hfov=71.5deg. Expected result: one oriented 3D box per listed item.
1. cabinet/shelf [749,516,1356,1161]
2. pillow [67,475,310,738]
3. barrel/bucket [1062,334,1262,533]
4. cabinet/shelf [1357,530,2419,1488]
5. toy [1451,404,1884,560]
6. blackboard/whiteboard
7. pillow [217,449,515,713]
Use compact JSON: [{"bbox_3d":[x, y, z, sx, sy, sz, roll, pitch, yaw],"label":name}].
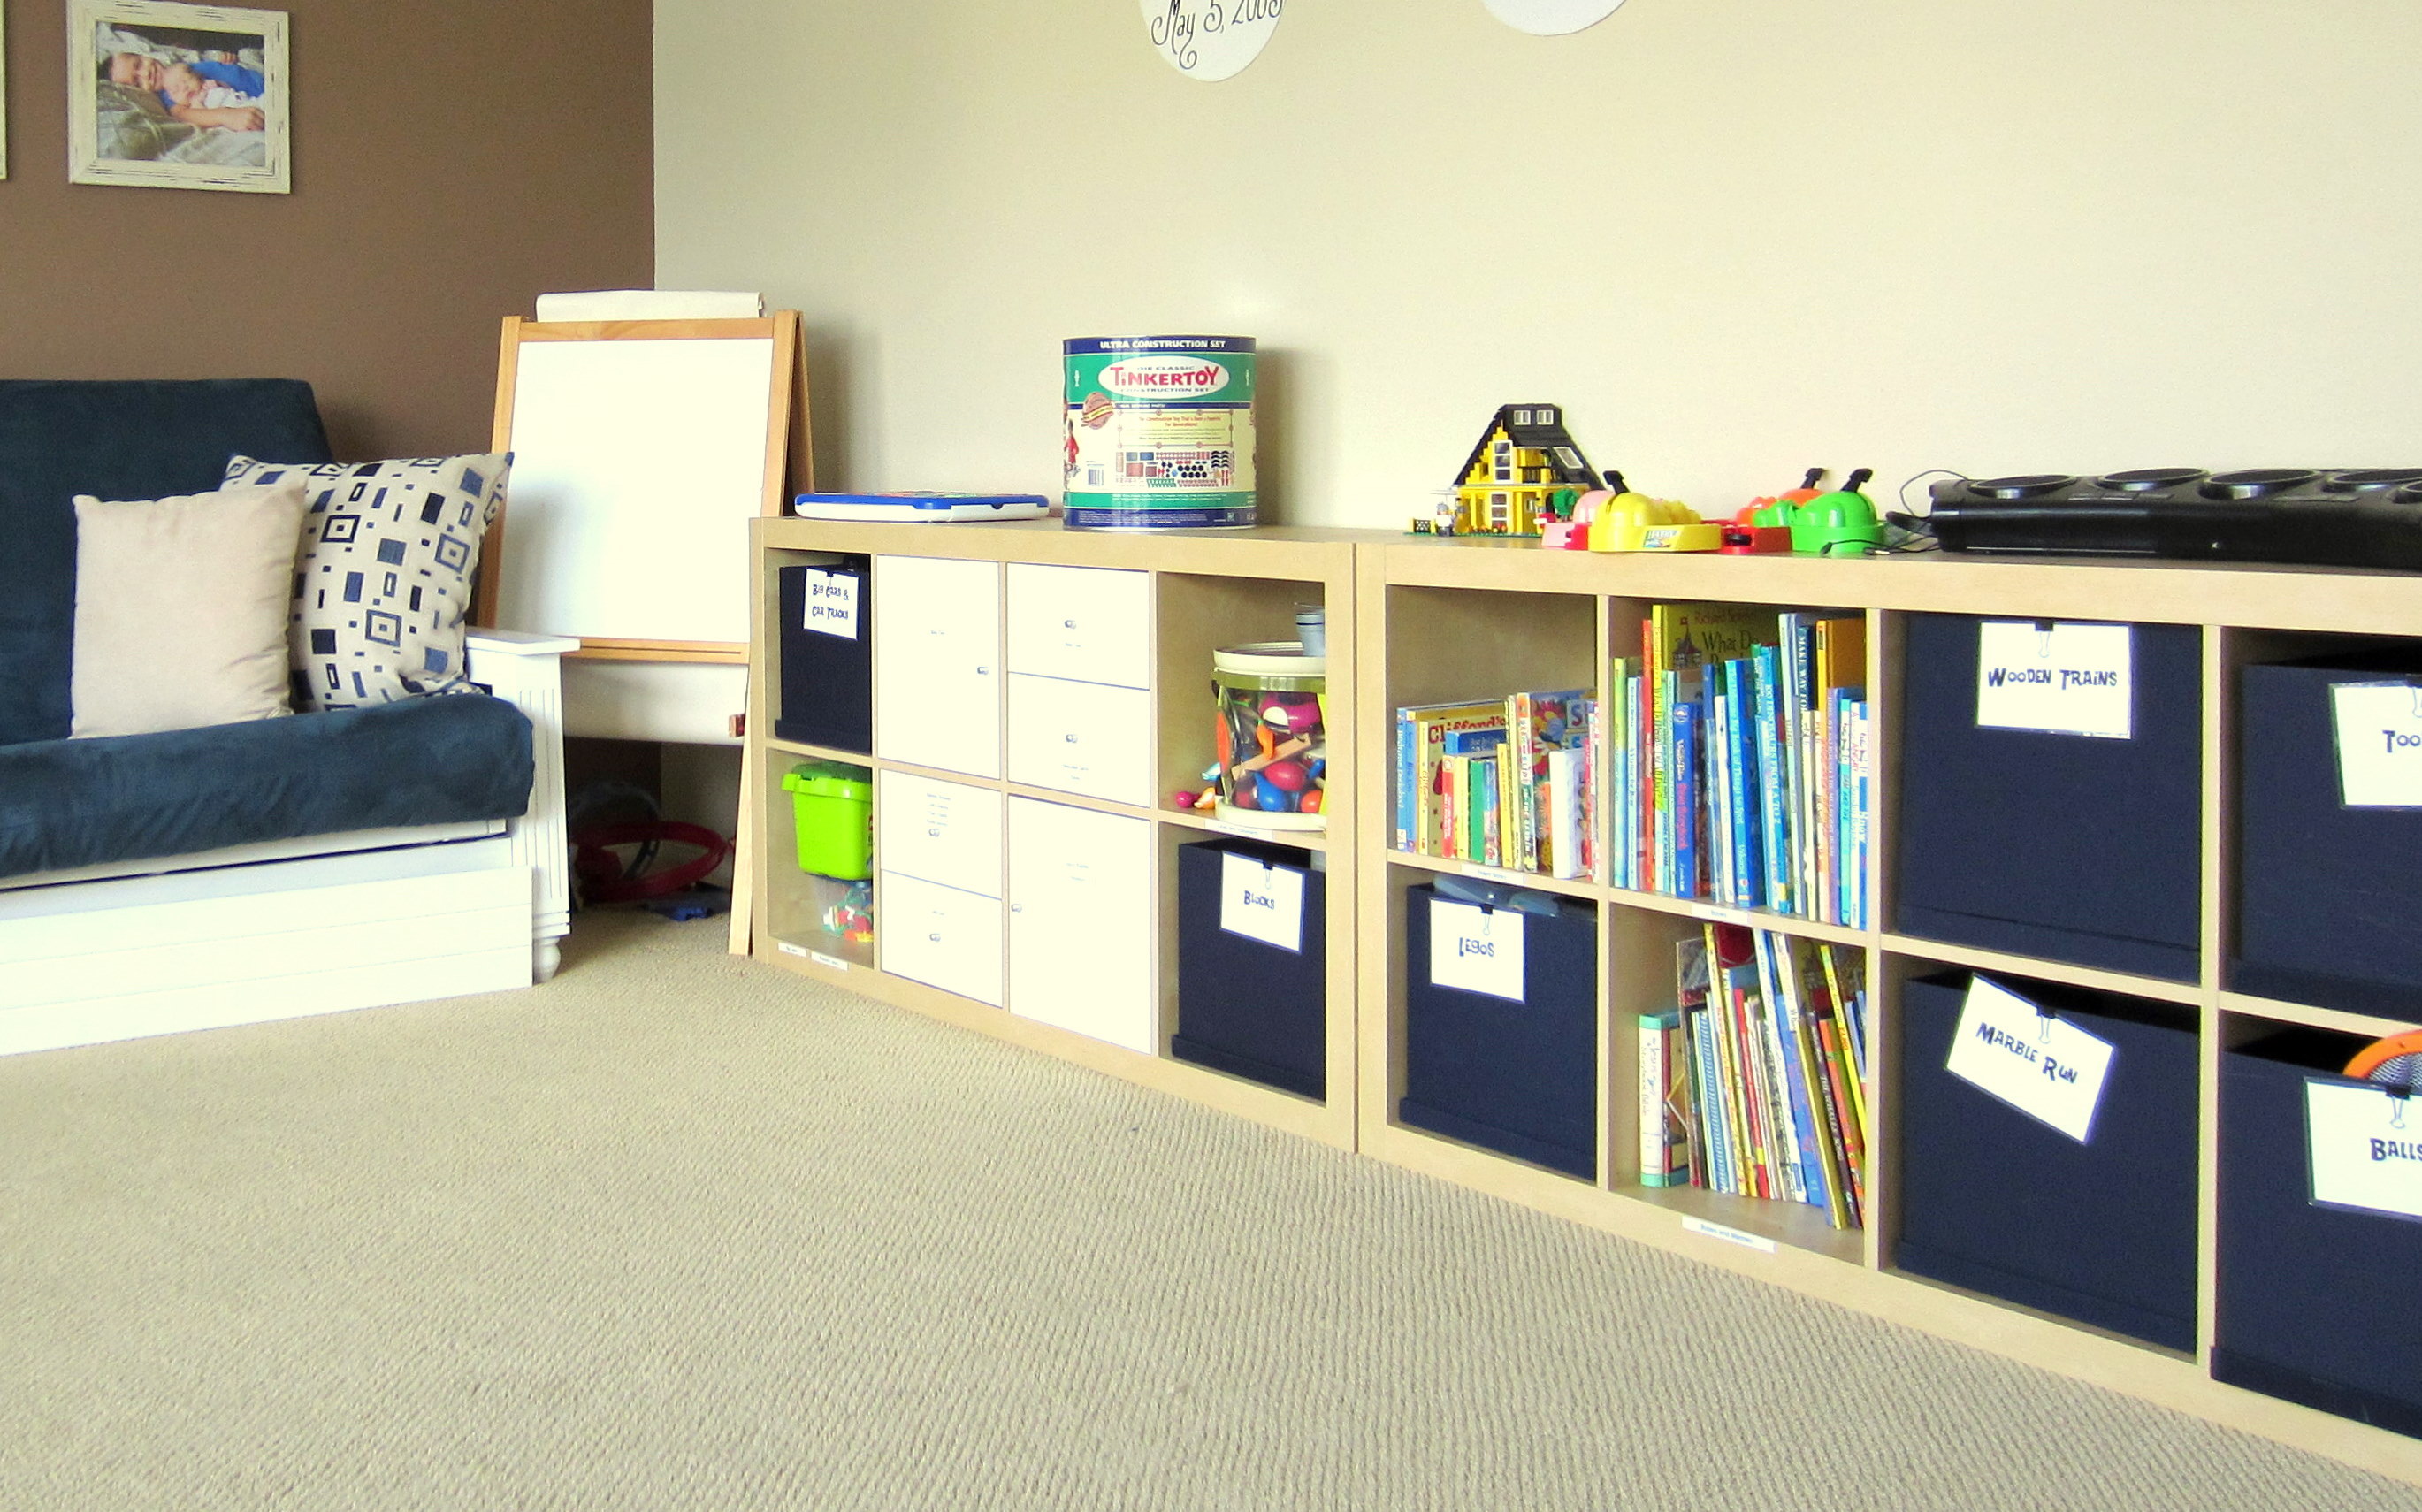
[{"bbox_3d":[-0.323,0.037,3.307,1.619,1.033,0.332,12,19,38],"label":"cabinet/shelf"},{"bbox_3d":[-2.179,-0.303,3.588,0.543,0.538,0.187,-2,-9,-5],"label":"pillow"},{"bbox_3d":[-0.087,-0.632,3.305,0.379,0.329,0.341,1,5,9],"label":"barrel/bucket"},{"bbox_3d":[0.970,0.364,2.302,0.371,0.746,1.229,-4,5,-43],"label":"cabinet/shelf"},{"bbox_3d":[0.644,-0.398,2.672,0.359,0.136,0.465,-2,7,-35],"label":"toy"},{"bbox_3d":[-1.355,-0.620,4.019,0.822,0.909,0.333,4,-2,14],"label":"blackboard/whiteboard"},{"bbox_3d":[-1.880,-0.378,3.697,0.551,0.445,0.256,-5,13,21],"label":"pillow"}]
